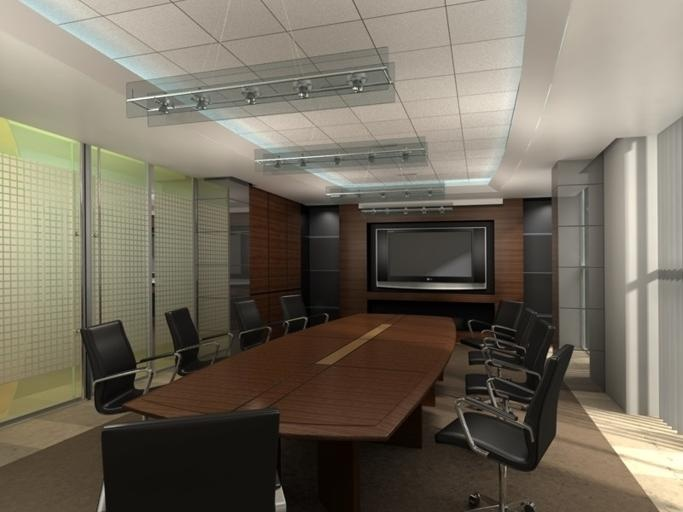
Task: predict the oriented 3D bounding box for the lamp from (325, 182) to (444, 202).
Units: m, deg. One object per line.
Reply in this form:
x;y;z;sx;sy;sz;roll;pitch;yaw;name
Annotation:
0.638;-0.926;6.486;1.659;0.281;0.281;2;3;7;lamp

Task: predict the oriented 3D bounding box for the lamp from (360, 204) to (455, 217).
1.064;-0.763;7.295;1.443;0.160;0.665;2;2;4;lamp

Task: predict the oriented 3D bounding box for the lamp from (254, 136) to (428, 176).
0.005;-1.041;4.632;1.705;0.413;0.490;2;3;4;lamp
